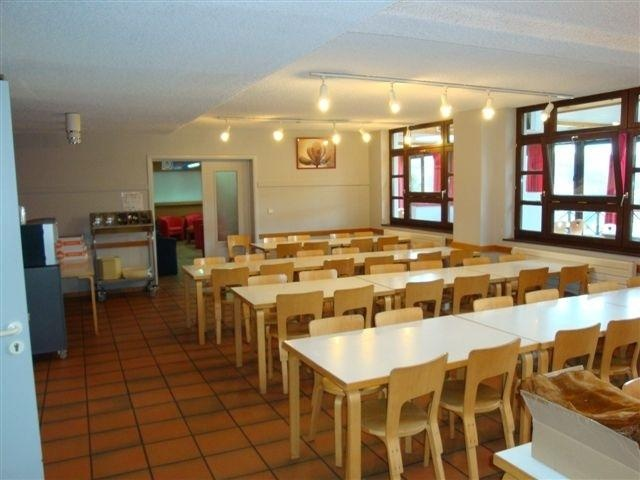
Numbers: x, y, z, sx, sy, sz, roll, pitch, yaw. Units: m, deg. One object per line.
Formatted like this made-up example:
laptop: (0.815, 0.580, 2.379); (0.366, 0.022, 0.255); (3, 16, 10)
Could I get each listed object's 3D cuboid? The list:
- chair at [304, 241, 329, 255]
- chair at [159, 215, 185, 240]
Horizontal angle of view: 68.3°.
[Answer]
chair: (-0.041, 0.229, 7.957); (0.351, 0.359, 0.227); (-3, 18, -17)
chair: (-4.498, -0.402, 14.414); (0.768, 0.894, 0.835); (4, 4, 43)
